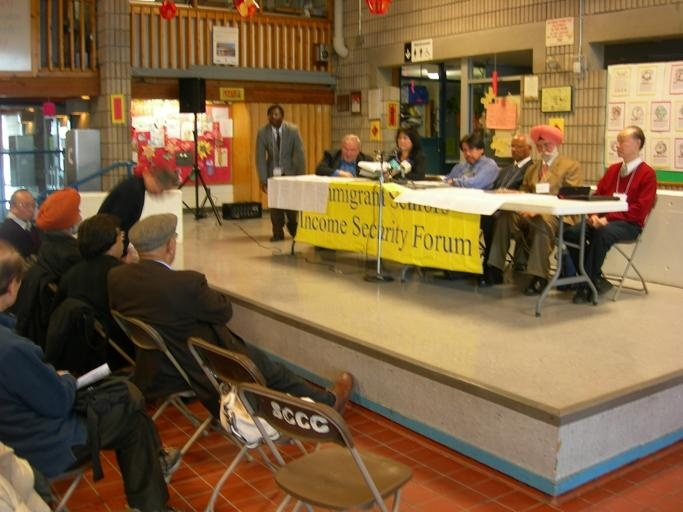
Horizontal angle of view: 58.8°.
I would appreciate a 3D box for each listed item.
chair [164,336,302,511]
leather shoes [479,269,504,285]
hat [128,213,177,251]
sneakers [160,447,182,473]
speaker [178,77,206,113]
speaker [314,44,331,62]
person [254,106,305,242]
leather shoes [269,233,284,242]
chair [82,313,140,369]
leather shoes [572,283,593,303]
[{"bbox_3d":[-0.640,0.986,3.455,0.736,1.153,0.586,-8,14,-36],"label":"chair"},{"bbox_3d":[1.503,0.204,6.008,0.169,0.186,0.305,13,-12,-3],"label":"leather shoes"},{"bbox_3d":[-1.101,-0.208,3.547,0.184,0.110,0.261,18,46,31],"label":"hat"},{"bbox_3d":[-1.020,1.205,3.579,0.084,0.147,0.049,4,-17,4],"label":"sneakers"},{"bbox_3d":[-2.639,-2.837,10.660,0.490,0.804,0.386,4,7,24],"label":"speaker"},{"bbox_3d":[-0.391,-4.030,12.041,0.330,0.356,0.229,-4,10,-18],"label":"speaker"},{"bbox_3d":[-0.901,-1.230,8.939,0.584,2.125,0.596,-5,35,-7],"label":"person"},{"bbox_3d":[-0.921,-0.268,8.551,0.151,0.080,0.091,2,6,-25],"label":"leather shoes"},{"bbox_3d":[-1.526,0.542,3.963,0.217,0.453,0.294,-35,21,-15],"label":"chair"},{"bbox_3d":[2.166,0.344,5.499,0.093,0.194,0.233,-3,-3,42],"label":"leather shoes"}]
